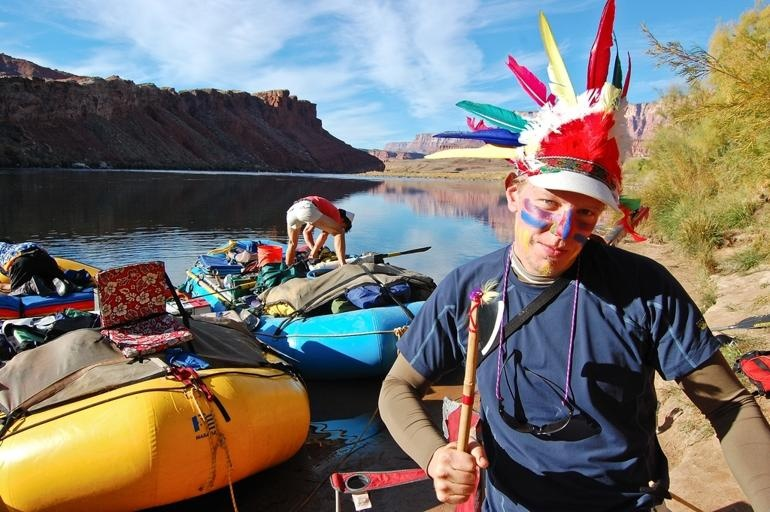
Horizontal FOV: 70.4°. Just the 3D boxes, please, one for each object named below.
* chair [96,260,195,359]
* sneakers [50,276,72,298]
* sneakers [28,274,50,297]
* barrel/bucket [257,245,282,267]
[{"bbox_3d":[-2.341,0.531,5.316,0.771,0.662,0.782,-6,27,-35],"label":"chair"},{"bbox_3d":[-4.930,0.463,8.298,0.311,0.103,0.185,20,35,41],"label":"sneakers"},{"bbox_3d":[-5.171,0.489,8.253,0.563,0.214,0.173,39,19,35],"label":"sneakers"},{"bbox_3d":[-1.938,0.016,9.165,0.379,0.263,0.380,-1,0,0],"label":"barrel/bucket"}]
